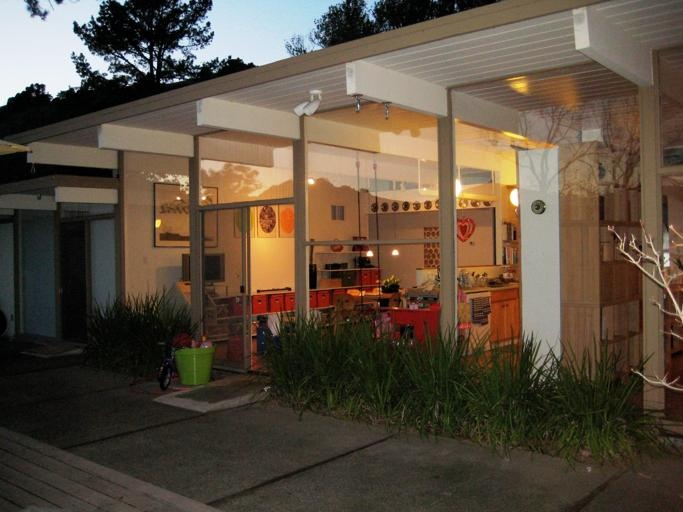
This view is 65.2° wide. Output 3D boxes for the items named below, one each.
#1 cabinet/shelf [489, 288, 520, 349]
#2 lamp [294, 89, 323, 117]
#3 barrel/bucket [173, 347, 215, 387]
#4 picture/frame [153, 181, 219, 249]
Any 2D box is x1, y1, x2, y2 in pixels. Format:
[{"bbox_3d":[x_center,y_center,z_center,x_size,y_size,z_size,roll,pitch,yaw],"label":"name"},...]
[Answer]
[{"bbox_3d":[2.365,0.735,7.868,0.419,0.909,0.385,-9,26,3],"label":"cabinet/shelf"},{"bbox_3d":[-0.463,-2.108,7.247,0.367,0.322,0.425,-8,20,-2],"label":"lamp"},{"bbox_3d":[-2.232,1.729,8.389,0.576,0.507,0.571,-1,-15,0],"label":"barrel/bucket"},{"bbox_3d":[-3.178,-0.842,10.923,1.259,1.444,0.023,2,-24,-26],"label":"picture/frame"}]
